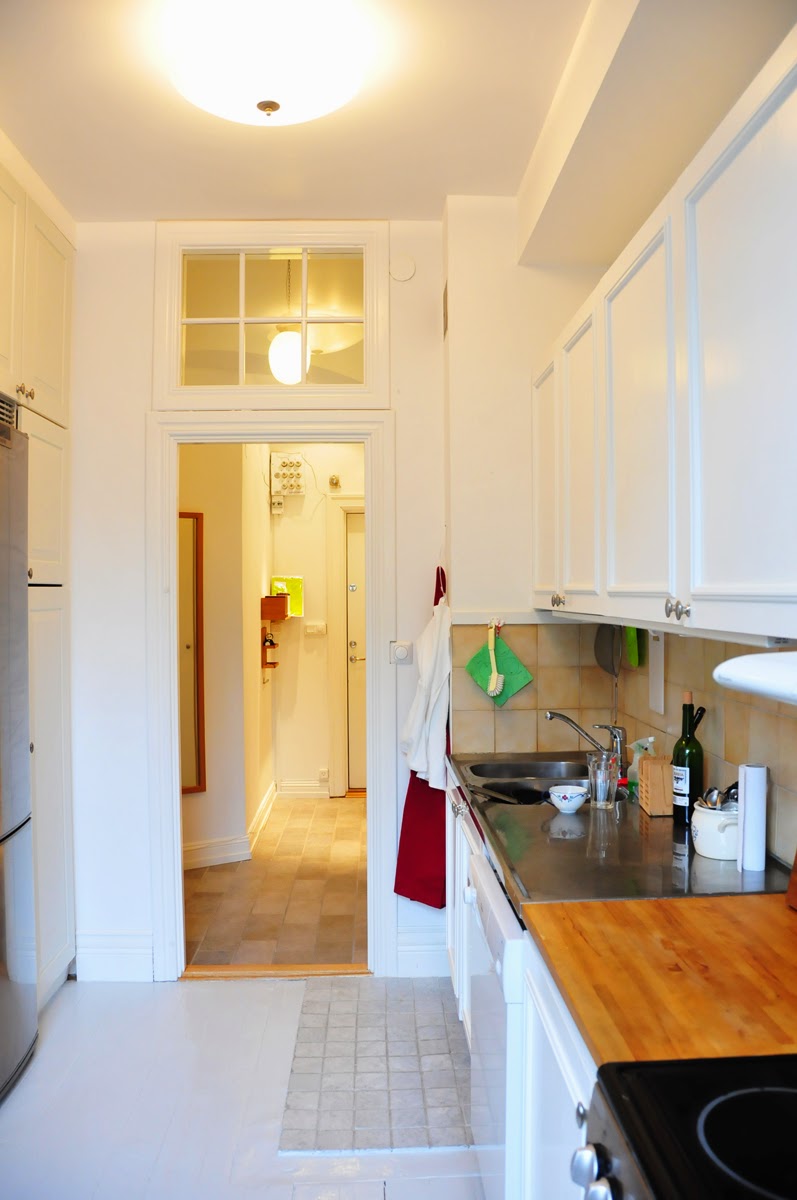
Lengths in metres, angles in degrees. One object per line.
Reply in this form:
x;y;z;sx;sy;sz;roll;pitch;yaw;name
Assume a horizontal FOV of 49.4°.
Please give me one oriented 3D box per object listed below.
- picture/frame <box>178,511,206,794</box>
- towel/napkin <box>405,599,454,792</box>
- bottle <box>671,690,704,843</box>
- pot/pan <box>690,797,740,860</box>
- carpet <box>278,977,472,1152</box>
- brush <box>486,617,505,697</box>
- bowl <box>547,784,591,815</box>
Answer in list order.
-0.944;0.227;4.119;0.061;1.283;0.276;1;-11;-23;picture/frame
0.092;0.303;2.801;0.151;0.604;0.134;0;0;0;towel/napkin
0.655;0.359;1.952;0.073;0.298;0.244;0;0;19;bottle
0.615;0.435;1.684;0.091;0.104;0.093;-2;-2;44;pot/pan
-0.050;1.271;2.379;0.493;0.012;0.776;0;0;-3;carpet
0.299;0.173;2.675;0.040;0.227;0.042;-10;-14;35;brush
0.412;0.473;2.116;0.069;0.058;0.075;0;2;0;bowl
